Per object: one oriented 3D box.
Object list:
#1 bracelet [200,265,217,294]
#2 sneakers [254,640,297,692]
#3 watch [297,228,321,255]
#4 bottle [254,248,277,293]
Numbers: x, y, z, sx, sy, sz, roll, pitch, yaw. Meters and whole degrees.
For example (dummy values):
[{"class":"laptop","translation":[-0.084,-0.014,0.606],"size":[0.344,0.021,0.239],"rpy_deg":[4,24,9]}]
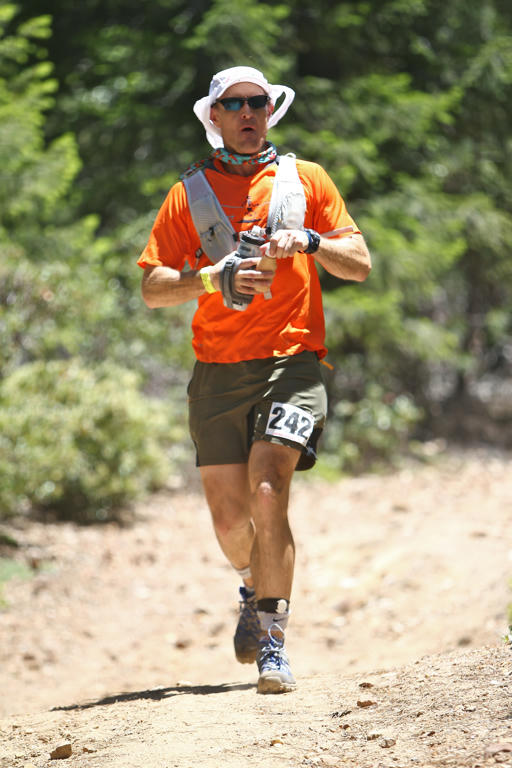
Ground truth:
[{"class":"bracelet","translation":[-0.180,-0.383,3.445],"size":[0.076,0.085,0.040],"rpy_deg":[-5,15,-40]},{"class":"sneakers","translation":[0.063,1.009,3.354],"size":[0.143,0.194,0.146],"rpy_deg":[-1,7,14]},{"class":"watch","translation":[0.205,-0.517,3.412],"size":[0.079,0.079,0.073],"rpy_deg":[0,8,22]},{"class":"bottle","translation":[0.036,-0.402,3.319],"size":[0.068,0.182,0.121],"rpy_deg":[-2,7,12]}]
